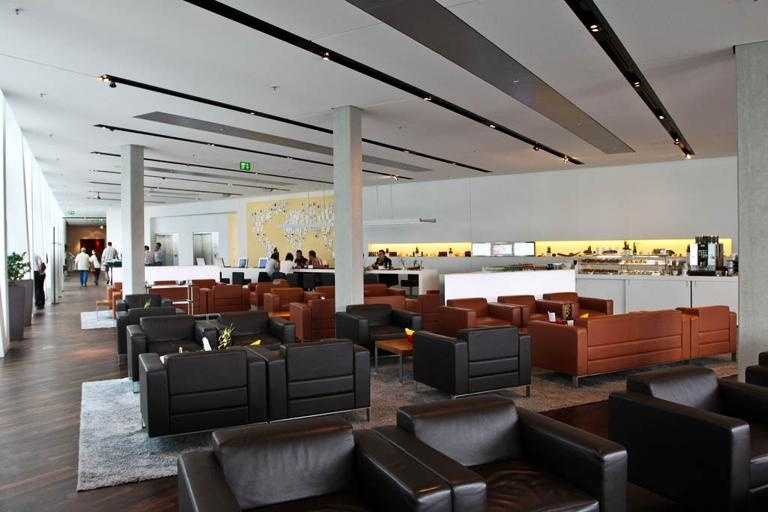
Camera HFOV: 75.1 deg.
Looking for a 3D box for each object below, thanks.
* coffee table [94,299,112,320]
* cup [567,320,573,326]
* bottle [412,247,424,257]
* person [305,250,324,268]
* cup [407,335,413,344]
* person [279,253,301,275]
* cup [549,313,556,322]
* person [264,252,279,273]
[{"bbox_3d":[-7.645,1.470,13.635,0.381,0.462,0.493,1,0,-37],"label":"coffee table"},{"bbox_3d":[3.138,1.110,8.366,0.118,0.114,0.088,0,-3,4],"label":"cup"},{"bbox_3d":[1.268,-0.153,18.485,0.466,0.335,0.232,-3,0,45],"label":"bottle"},{"bbox_3d":[-2.552,0.118,18.713,0.443,0.957,0.395,1,17,11],"label":"person"},{"bbox_3d":[0.444,1.374,8.282,0.149,0.146,0.149,1,-4,0],"label":"cup"},{"bbox_3d":[-3.154,0.271,16.750,0.708,0.876,0.675,5,9,5],"label":"person"},{"bbox_3d":[2.914,1.040,8.606,0.105,0.164,0.455,-2,0,18],"label":"cup"},{"bbox_3d":[-3.778,0.221,16.952,0.395,0.757,1.235,-2,0,-11],"label":"person"}]
